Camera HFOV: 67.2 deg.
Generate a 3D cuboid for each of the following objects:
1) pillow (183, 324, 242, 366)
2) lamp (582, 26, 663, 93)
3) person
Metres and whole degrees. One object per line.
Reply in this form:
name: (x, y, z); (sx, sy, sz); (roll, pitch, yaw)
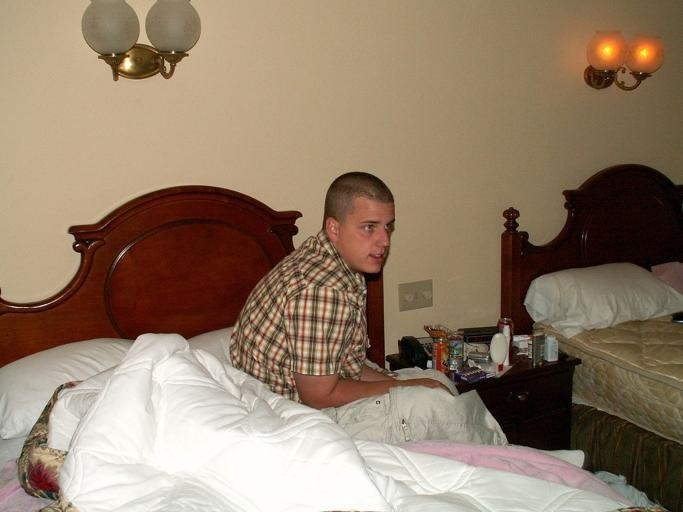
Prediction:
pillow: (-0.600, 0.408, 2.396); (0.212, 0.069, 0.149); (-7, 23, -38)
lamp: (1.876, -1.297, 3.528); (0.561, 0.431, 0.373); (-4, 8, -20)
person: (-0.045, 0.157, 2.276); (0.733, 1.002, 0.752); (-1, 10, -31)
